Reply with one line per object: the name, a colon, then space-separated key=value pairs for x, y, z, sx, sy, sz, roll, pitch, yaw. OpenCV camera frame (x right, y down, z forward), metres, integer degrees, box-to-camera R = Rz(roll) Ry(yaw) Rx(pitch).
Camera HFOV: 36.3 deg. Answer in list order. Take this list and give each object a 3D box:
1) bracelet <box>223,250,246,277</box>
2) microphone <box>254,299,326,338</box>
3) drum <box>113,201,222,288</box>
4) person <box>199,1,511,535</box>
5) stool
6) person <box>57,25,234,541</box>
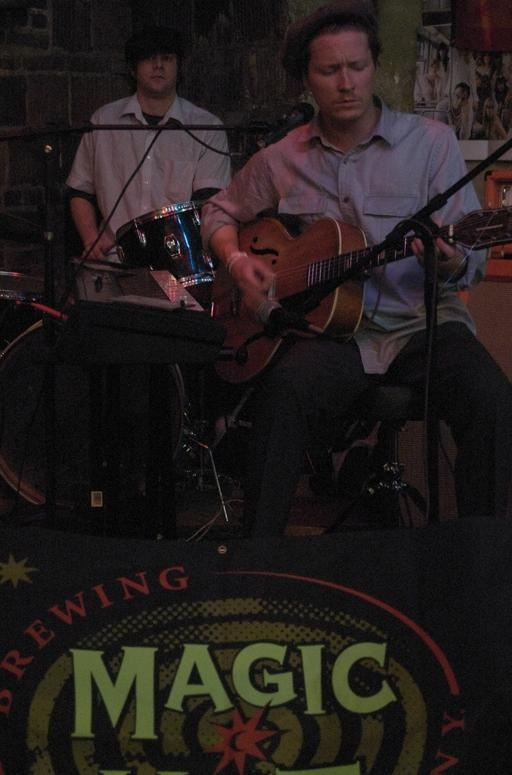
bracelet: x=-0.045 y=-0.261 z=1.659 sx=0.024 sy=0.048 sz=0.044 roll=9 pitch=13 yaw=-42
microphone: x=0.066 y=-0.128 z=1.489 sx=0.118 sy=0.058 sz=0.035 roll=23 pitch=46 yaw=33
drum: x=-0.158 y=-0.364 z=2.012 sx=0.235 sy=0.178 sz=0.248 roll=-13 pitch=7 yaw=2
person: x=0.183 y=-0.241 z=1.451 sx=0.474 sy=0.905 sz=0.798 roll=-2 pitch=14 yaw=-11
stool: x=0.293 y=0.160 z=1.740 sx=0.245 sy=0.330 sz=0.271 roll=5 pitch=-1 yaw=1
person: x=-0.228 y=-0.329 z=1.856 sx=0.456 sy=1.198 sz=0.327 roll=-5 pitch=-20 yaw=-5
